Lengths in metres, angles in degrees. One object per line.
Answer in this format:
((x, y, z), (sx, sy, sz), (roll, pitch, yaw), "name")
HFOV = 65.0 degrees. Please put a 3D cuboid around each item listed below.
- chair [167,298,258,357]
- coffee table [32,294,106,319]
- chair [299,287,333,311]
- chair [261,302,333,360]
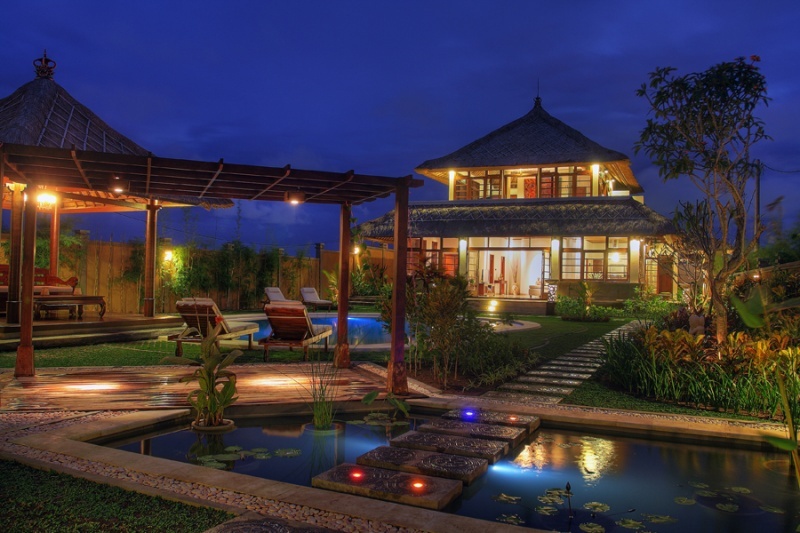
((-4.066, 1.342, 13.955), (1.010, 1.187, 1.948), (1, -1, 17), "chair")
((-9.475, 1.149, 17.955), (1.661, 0.703, 2.774), (3, -5, -30), "coffee table")
((-3.450, 1.326, 25.035), (0.880, 0.960, 1.604), (0, -2, -32), "chair")
((-2.317, 1.410, 14.278), (1.021, 1.197, 2.045), (2, 1, 9), "chair")
